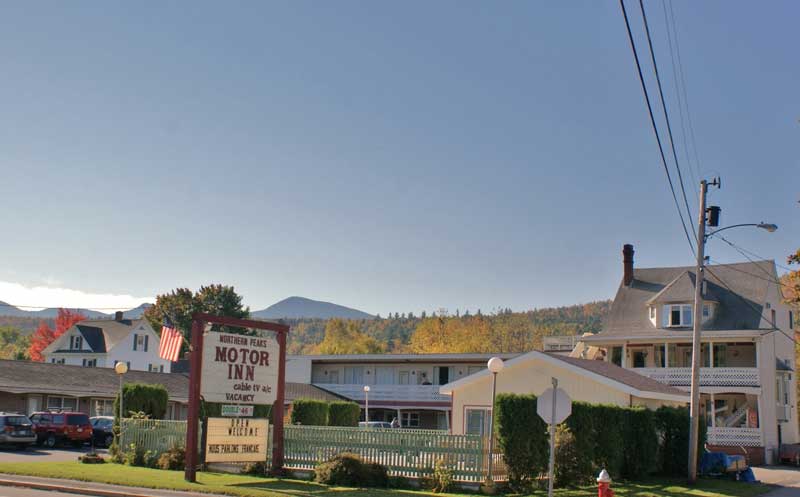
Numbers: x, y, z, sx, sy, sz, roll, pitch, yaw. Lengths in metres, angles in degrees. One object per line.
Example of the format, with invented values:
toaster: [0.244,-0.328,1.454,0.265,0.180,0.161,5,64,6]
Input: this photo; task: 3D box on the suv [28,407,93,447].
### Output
suv: [-23.533,12.481,62.416,4.010,2.625,1.873,6,-17,-5]

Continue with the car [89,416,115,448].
car: [-21.671,13.003,64.499,1.529,2.192,1.863,13,-19,-27]
